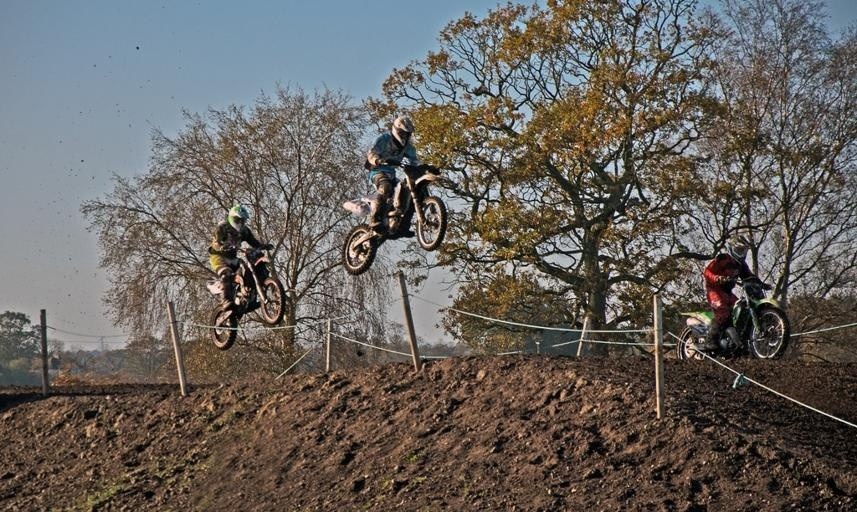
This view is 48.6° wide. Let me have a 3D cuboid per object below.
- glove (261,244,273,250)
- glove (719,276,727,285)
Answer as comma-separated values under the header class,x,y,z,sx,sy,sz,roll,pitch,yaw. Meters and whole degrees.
class,x,y,z,sx,sy,sz,roll,pitch,yaw
glove,-4.961,-0.308,29.091,0.330,0.154,1.137,0,-4,-10
glove,8.583,0.693,27.659,0.167,0.208,0.078,20,-9,42
